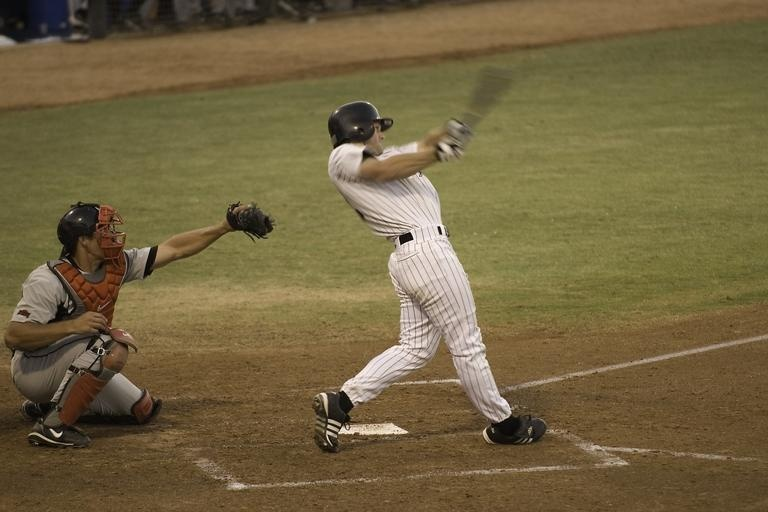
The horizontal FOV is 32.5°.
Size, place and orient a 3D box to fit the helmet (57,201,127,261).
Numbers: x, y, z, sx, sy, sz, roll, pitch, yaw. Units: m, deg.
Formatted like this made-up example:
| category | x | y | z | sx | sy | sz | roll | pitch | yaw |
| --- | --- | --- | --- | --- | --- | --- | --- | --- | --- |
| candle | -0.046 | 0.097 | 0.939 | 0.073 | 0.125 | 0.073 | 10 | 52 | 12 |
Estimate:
| category | x | y | z | sx | sy | sz | roll | pitch | yaw |
| --- | --- | --- | --- | --- | --- | --- | --- | --- | --- |
| helmet | -2.490 | -0.207 | 10.974 | 0.686 | 0.461 | 0.440 | -9 | 10 | -11 |

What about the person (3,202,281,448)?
| category | x | y | z | sx | sy | sz | roll | pitch | yaw |
| --- | --- | --- | --- | --- | --- | --- | --- | --- | --- |
| person | -2.283 | 0.521 | 11.045 | 1.695 | 1.948 | 0.660 | -12 | 17 | -33 |

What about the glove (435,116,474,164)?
| category | x | y | z | sx | sy | sz | roll | pitch | yaw |
| --- | --- | --- | --- | --- | --- | --- | --- | --- | --- |
| glove | 0.525 | -0.916 | 10.517 | 0.311 | 0.320 | 0.148 | 22 | -9 | 33 |

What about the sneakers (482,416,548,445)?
| category | x | y | z | sx | sy | sz | roll | pitch | yaw |
| --- | --- | --- | --- | --- | --- | --- | --- | --- | --- |
| sneakers | 1.084 | 1.437 | 10.743 | 0.605 | 0.176 | 0.191 | -3 | 28 | 0 |

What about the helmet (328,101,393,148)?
| category | x | y | z | sx | sy | sz | roll | pitch | yaw |
| --- | --- | --- | --- | --- | --- | --- | --- | --- | --- |
| helmet | -0.245 | -1.077 | 10.904 | 0.594 | 0.301 | 0.354 | 2 | -8 | -9 |

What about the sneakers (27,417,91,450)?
| category | x | y | z | sx | sy | sz | roll | pitch | yaw |
| --- | --- | --- | --- | --- | --- | --- | --- | --- | --- |
| sneakers | -2.630 | 1.463 | 10.760 | 0.580 | 0.215 | 0.199 | 1 | 14 | -4 |
